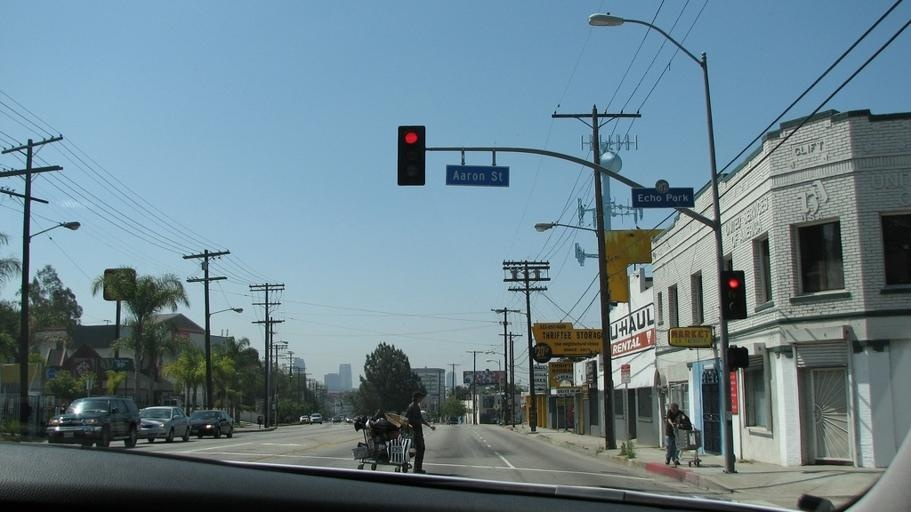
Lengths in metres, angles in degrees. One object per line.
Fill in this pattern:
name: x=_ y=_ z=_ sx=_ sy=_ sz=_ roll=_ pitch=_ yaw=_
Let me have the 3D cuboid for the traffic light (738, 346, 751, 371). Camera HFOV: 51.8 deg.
traffic light: x=8.326 y=2.857 z=27.036 sx=0.241 sy=0.584 sz=0.399 roll=-9 pitch=-16 yaw=33

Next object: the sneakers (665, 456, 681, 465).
sneakers: x=6.805 y=6.373 z=29.254 sx=0.211 sy=0.288 sz=0.650 roll=5 pitch=-3 yaw=-10

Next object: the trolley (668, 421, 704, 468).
trolley: x=7.606 y=6.071 z=30.410 sx=0.995 sy=1.400 sz=1.047 roll=11 pitch=-12 yaw=-13

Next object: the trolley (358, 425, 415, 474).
trolley: x=-1.478 y=4.001 z=19.451 sx=1.231 sy=0.881 sz=0.922 roll=2 pitch=3 yaw=8
